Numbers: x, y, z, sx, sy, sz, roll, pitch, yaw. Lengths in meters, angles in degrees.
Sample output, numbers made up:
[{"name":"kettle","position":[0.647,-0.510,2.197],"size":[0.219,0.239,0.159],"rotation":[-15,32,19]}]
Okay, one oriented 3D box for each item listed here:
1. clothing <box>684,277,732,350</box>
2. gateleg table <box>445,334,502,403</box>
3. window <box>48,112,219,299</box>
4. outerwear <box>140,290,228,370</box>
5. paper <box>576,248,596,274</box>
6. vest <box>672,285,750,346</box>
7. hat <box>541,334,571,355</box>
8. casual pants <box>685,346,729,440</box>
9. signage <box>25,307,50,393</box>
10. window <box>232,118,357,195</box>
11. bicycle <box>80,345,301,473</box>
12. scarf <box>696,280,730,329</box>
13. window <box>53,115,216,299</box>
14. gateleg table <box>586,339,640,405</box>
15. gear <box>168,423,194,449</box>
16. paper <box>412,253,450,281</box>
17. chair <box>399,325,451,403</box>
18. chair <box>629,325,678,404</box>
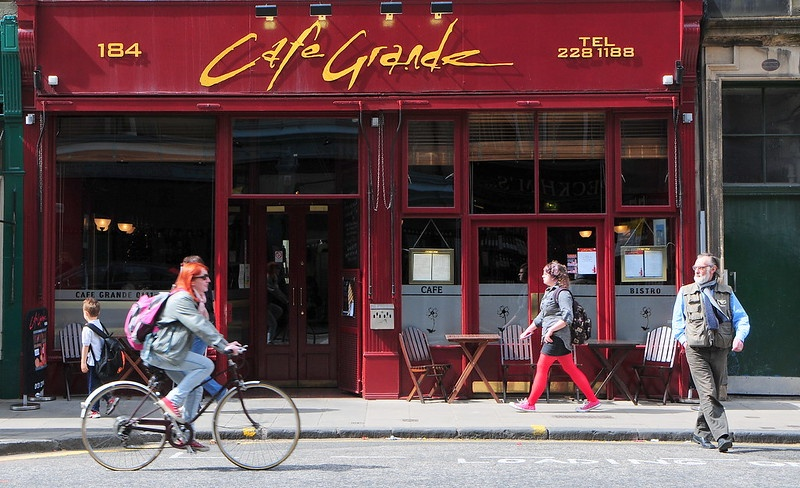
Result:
[{"name":"clothing","position":[5.154,1.182,20.343],"size":[0.803,1.094,0.612],"rotation":[-3,-11,17]},{"name":"gateleg table","position":[1.380,2.271,22.864],"size":[1.448,1.008,1.246],"rotation":[0,-1,-41]},{"name":"window","position":[-5.140,-0.730,23.069],"size":[3.739,3.949,0.198],"rotation":[0,-4,-3]},{"name":"outerwear","position":[-3.522,1.450,19.567],"size":[1.350,1.372,1.699],"rotation":[2,-1,-15]},{"name":"paper","position":[3.566,0.319,23.164],"size":[0.507,0.627,0.066],"rotation":[0,-4,-2]},{"name":"vest","position":[5.154,1.215,20.269],"size":[1.222,1.108,0.643],"rotation":[-3,1,9]},{"name":"hat","position":[2.818,1.825,21.859],"size":[0.538,0.338,0.373],"rotation":[0,-10,-5]},{"name":"casual pants","position":[5.120,2.478,20.188],"size":[0.669,1.571,0.399],"rotation":[-2,-3,14]},{"name":"signage","position":[-6.630,1.957,22.138],"size":[0.152,1.575,0.576],"rotation":[-2,-3,11]},{"name":"window","position":[-2.013,-1.749,23.332],"size":[2.969,1.744,0.142],"rotation":[0,-3,23]},{"name":"bicycle","position":[-3.331,2.775,19.923],"size":[3.429,1.914,1.659],"rotation":[-2,-2,-4]},{"name":"scarf","position":[5.197,1.015,20.142],"size":[0.459,0.787,0.129],"rotation":[-2,-3,9]},{"name":"window","position":[-5.128,-0.709,23.073],"size":[3.688,3.882,0.205],"rotation":[0,-5,-3]},{"name":"gateleg table","position":[3.993,2.343,23.062],"size":[1.011,0.951,1.063],"rotation":[-1,3,0]},{"name":"gear","position":[-3.459,3.004,19.076],"size":[0.517,0.511,0.235],"rotation":[-1,1,-8]},{"name":"paper","position":[0.548,0.447,23.136],"size":[0.552,0.411,0.053],"rotation":[0,-5,-5]},{"name":"chair","position":[0.463,2.260,22.855],"size":[0.931,1.386,0.534],"rotation":[-1,-3,-1]},{"name":"chair","position":[4.710,2.233,22.539],"size":[0.826,1.374,0.796],"rotation":[4,-4,-31]}]
